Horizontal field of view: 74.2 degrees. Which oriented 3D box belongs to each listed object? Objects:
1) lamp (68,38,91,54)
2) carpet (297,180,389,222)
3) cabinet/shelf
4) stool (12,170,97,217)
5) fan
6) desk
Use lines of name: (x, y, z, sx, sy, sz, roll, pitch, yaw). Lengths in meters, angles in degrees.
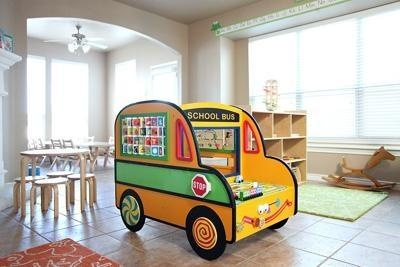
lamp: (-3.557, -2.584, 7.832, 0.528, 0.381, 0.522, -1, 7, -13)
carpet: (2.432, 1.198, 4.794, 1.933, 0.074, 1.224, -6, 9, -42)
cabinet/shelf: (1.810, 0.316, 5.691, 0.624, 1.613, 1.239, 6, 9, 41)
stool: (-2.422, 0.904, 4.402, 0.827, 0.339, 0.828, -1, -1, 32)
fan: (-4.088, -3.175, 8.575, 0.975, 0.393, 0.884, 2, 10, 14)
desk: (-2.474, 0.726, 4.544, 1.108, 1.010, 1.083, 0, 1, -5)
